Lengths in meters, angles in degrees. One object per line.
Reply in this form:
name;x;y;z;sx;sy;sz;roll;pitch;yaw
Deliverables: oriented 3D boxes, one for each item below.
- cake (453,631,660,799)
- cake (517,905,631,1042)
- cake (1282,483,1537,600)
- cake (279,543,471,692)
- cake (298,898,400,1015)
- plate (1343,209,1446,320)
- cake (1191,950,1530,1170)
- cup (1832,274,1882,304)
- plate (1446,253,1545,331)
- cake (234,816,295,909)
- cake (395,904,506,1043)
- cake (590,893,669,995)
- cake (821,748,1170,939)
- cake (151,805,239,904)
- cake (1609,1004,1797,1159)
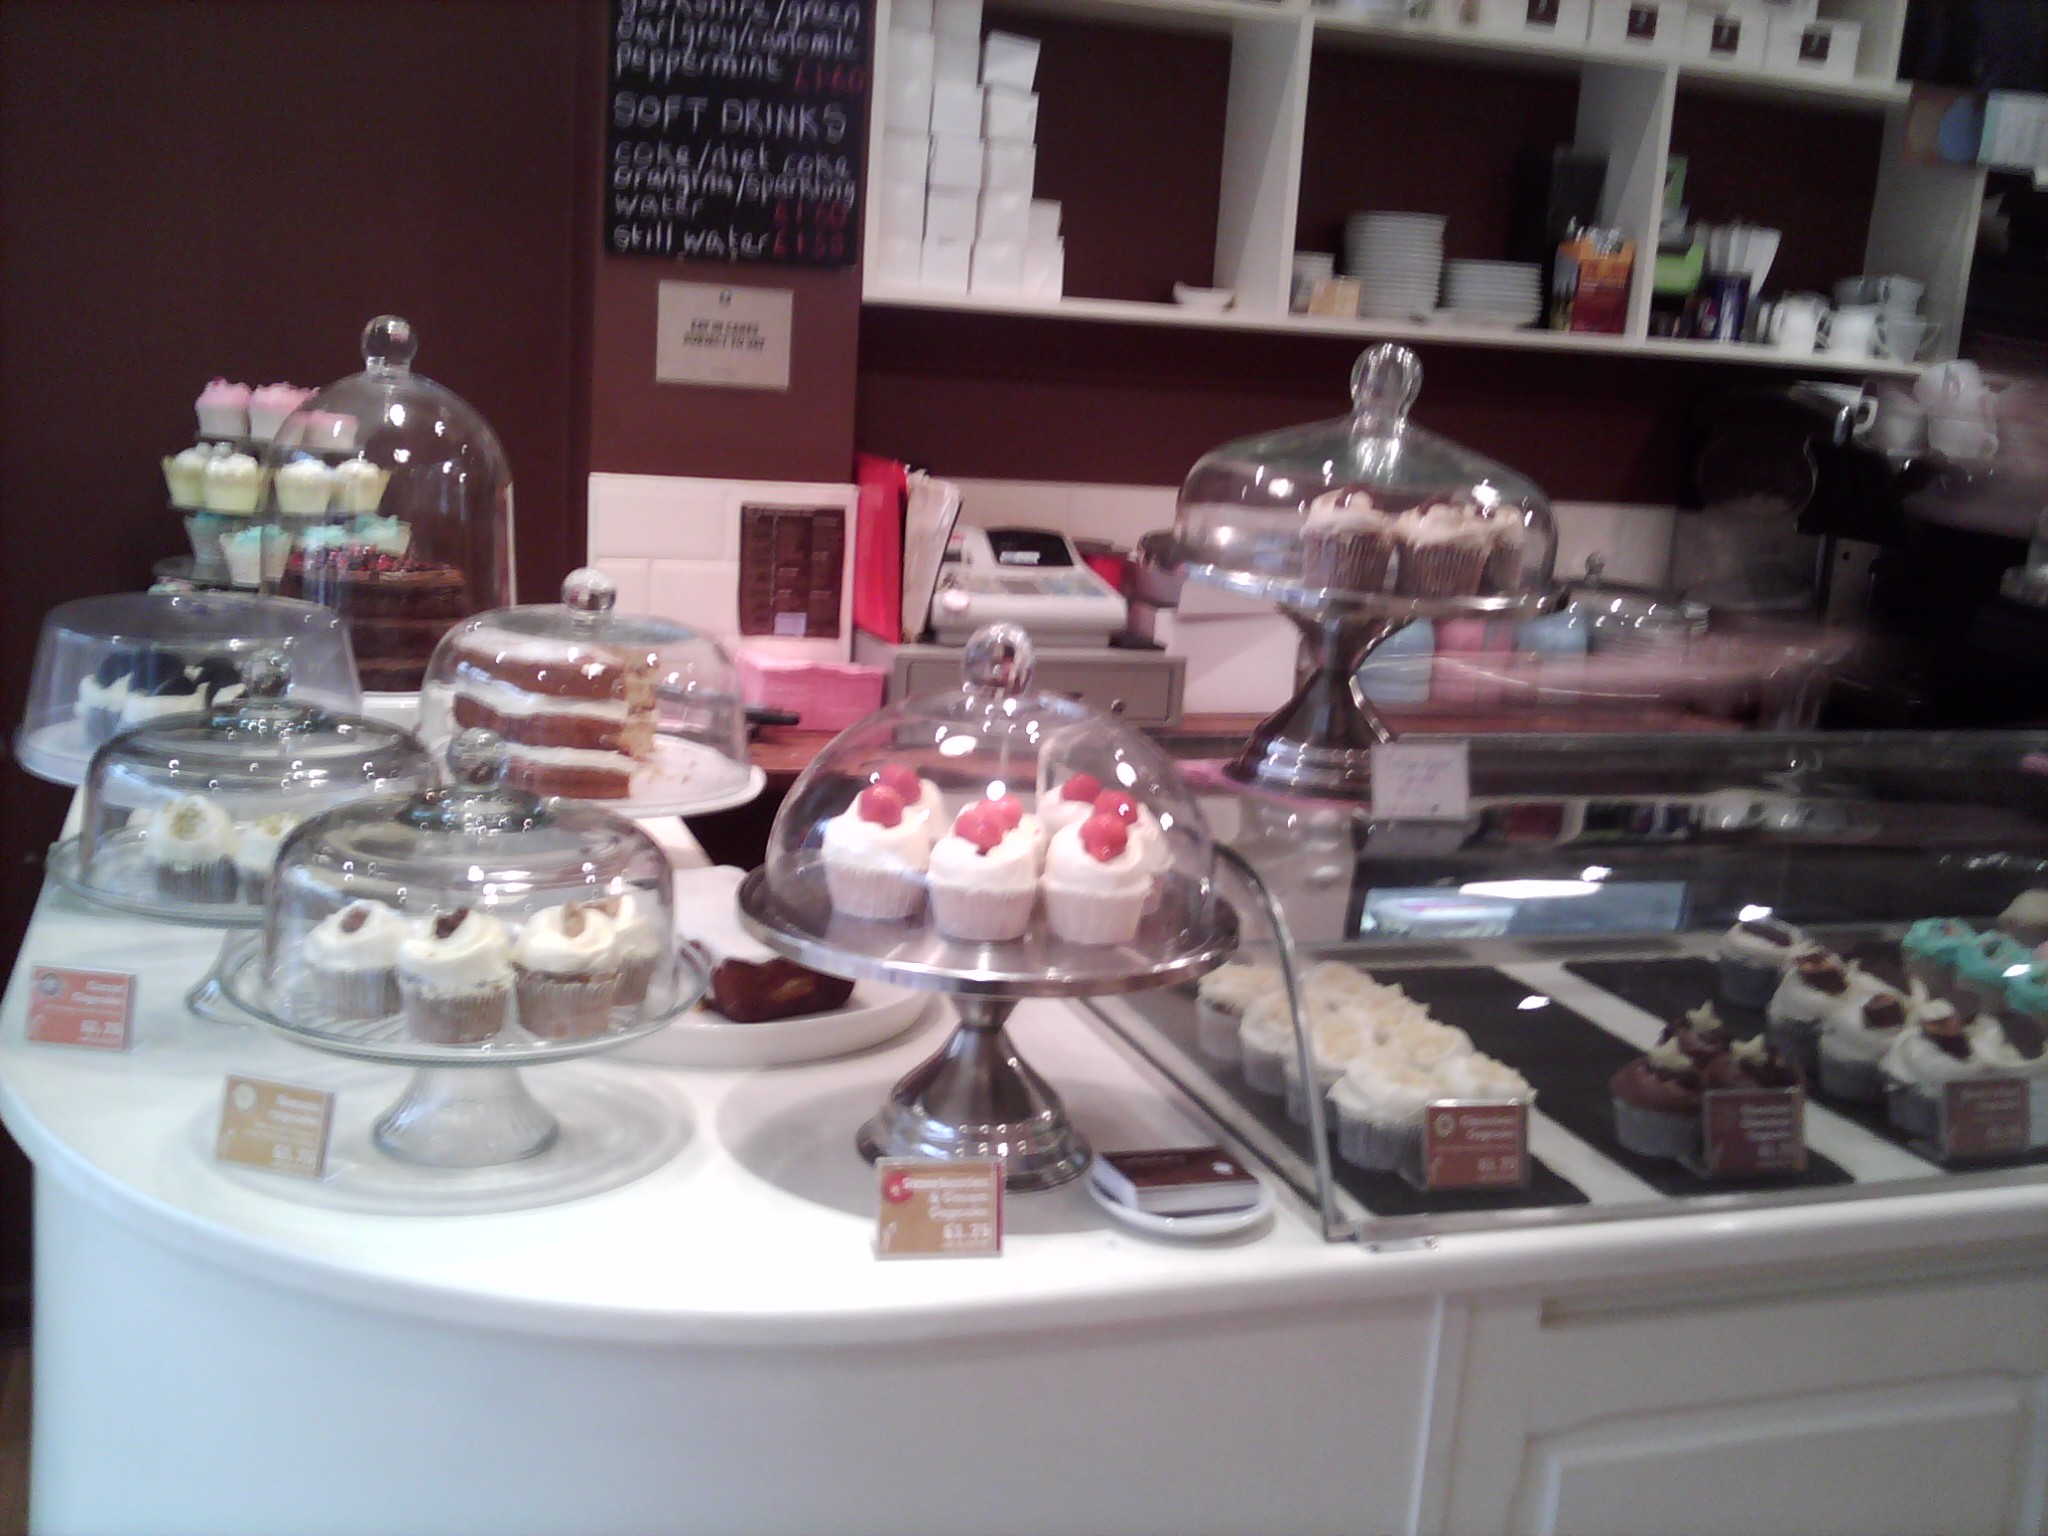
cake;-0.687;-0.086;2.280;0.261;0.223;0.258;3;5;13
cake;-0.416;0.189;1.363;0.102;0.122;0.106;2;0;-1
cake;0.594;-0.339;2.246;0.366;0.153;0.153;1;13;3
cake;-1.150;-0.251;2.659;0.287;0.163;0.282;-3;9;-36
cake;-0.599;0.169;1.370;0.093;0.086;0.091;3;12;-3
plate;0.893;-1.212;3.627;0.249;0.277;0.261;10;19;30
cake;0.311;0.257;1.470;0.166;0.080;0.257;-4;14;-17
cup;2.175;-1.249;3.909;0.090;0.090;0.100;13;6;30
plate;1.135;-1.147;3.620;0.234;0.155;0.137;2;13;6
cake;-0.870;0.106;1.704;0.050;0.092;0.070;2;13;5
cake;-0.491;0.183;1.333;0.106;0.107;0.105;0;1;-11
cake;-0.368;0.169;1.415;0.074;0.085;0.081;4;-2;-6
cake;-0.031;0.089;1.399;0.202;0.073;0.196;-2;13;-21
cake;-0.932;0.095;1.686;0.100;0.111;0.105;0;4;-40
cake;0.680;0.317;1.517;0.123;0.117;0.162;0;1;-2
